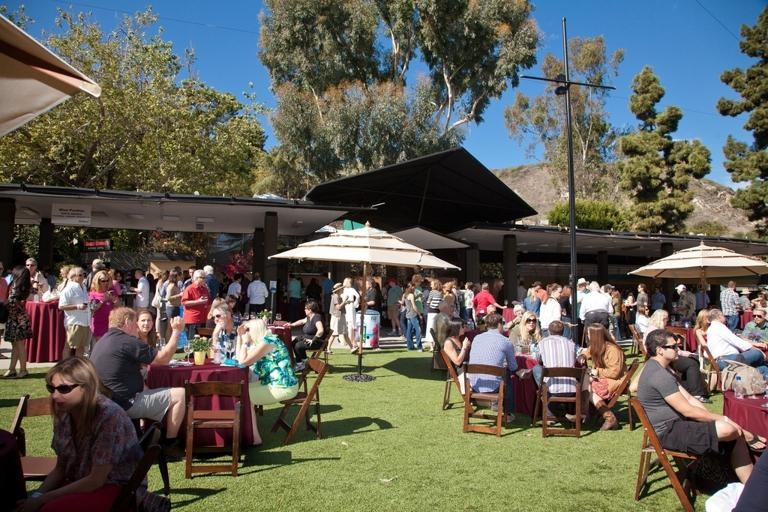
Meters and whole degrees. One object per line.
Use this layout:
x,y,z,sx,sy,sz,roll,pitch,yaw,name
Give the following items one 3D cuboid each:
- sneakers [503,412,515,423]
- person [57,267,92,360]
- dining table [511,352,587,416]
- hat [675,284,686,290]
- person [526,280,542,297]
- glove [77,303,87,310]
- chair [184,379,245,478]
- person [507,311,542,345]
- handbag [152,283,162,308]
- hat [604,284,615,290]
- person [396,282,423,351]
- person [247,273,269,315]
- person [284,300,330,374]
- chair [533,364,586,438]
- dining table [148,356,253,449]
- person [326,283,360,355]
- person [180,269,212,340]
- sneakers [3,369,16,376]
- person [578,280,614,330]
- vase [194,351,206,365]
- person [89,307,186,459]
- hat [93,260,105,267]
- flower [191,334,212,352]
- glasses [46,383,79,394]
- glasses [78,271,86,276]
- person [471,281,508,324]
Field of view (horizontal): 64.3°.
2.203,2.829,10.627,0.158,0.068,0.216,-1,2,-19,sneakers
-6.274,1.132,12.442,0.601,1.781,0.854,2,-9,-26,person
3.057,2.267,10.942,0.936,1.653,1.118,0,1,9,dining table
9.985,1.049,20.585,0.373,0.190,0.266,-12,3,-5,hat
4.213,0.930,17.118,0.248,0.499,1.046,-5,-10,20,person
-6.089,1.017,12.277,0.114,0.093,0.117,-1,3,-36,glove
-2.431,2.457,8.745,0.840,1.309,0.920,0,-9,-9,chair
2.834,1.445,11.953,0.599,0.812,0.457,-2,18,-8,person
-5.927,1.011,15.995,0.193,0.708,0.924,1,-10,-20,handbag
7.293,1.005,19.791,0.352,0.145,0.280,8,-9,-16,hat
0.836,1.684,17.202,0.614,1.868,0.637,-9,7,-43,person
-3.796,1.269,18.283,0.567,1.619,0.496,2,22,-12,person
-1.711,1.741,13.482,0.801,1.479,0.681,5,8,12,person
2.907,2.402,10.061,0.797,1.296,1.128,0,0,6,chair
-2.780,2.197,9.304,1.251,0.959,1.259,4,-9,-22,dining table
-1.068,1.686,16.929,0.678,1.994,0.546,3,25,4,person
-4.258,1.373,14.161,0.595,1.994,0.781,4,5,36,person
-7.484,2.323,12.203,0.279,0.125,0.149,2,-4,-16,sneakers
5.387,1.193,15.526,0.726,1.198,1.427,-4,-9,17,person
-2.852,1.605,9.541,0.188,0.156,0.185,-1,-8,27,vase
-3.542,1.840,8.913,1.028,2.114,1.280,-5,-8,37,person
-6.396,0.176,13.684,0.169,0.247,0.236,9,12,-7,hat
-2.871,1.370,9.576,0.236,0.172,0.244,6,-9,-8,flower
-3.631,1.491,6.876,0.349,0.107,0.145,-5,-10,18,glasses
-6.072,0.361,12.251,0.062,0.088,0.044,-3,12,-2,glasses
2.794,1.538,16.550,0.795,1.619,0.446,9,19,23,person
